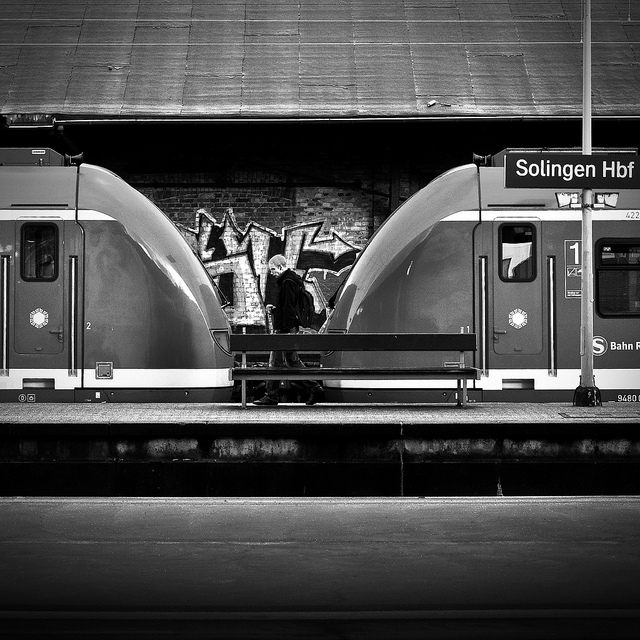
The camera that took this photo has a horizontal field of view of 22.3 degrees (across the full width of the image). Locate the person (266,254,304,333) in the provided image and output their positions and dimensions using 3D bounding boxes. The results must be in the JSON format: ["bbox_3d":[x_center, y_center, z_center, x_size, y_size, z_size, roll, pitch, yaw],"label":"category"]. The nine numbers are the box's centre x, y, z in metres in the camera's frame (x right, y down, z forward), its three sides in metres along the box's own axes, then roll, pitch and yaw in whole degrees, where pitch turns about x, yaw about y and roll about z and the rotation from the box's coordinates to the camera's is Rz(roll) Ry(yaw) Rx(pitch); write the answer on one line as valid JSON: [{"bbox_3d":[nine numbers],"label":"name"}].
[{"bbox_3d":[-0.460,-0.359,22.084,0.399,1.068,0.601,0,-2,-13],"label":"person"}]

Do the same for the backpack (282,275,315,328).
[{"bbox_3d":[-0.287,-0.235,22.092,0.345,0.753,0.500,-2,0,6],"label":"backpack"}]

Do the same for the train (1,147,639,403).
[{"bbox_3d":[-0.219,-0.787,23.963,8.577,3.976,8.802,0,-2,-7],"label":"train"}]

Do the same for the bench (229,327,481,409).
[{"bbox_3d":[0.402,0.646,20.221,3.258,1.342,0.785,-1,12,-2],"label":"bench"}]
